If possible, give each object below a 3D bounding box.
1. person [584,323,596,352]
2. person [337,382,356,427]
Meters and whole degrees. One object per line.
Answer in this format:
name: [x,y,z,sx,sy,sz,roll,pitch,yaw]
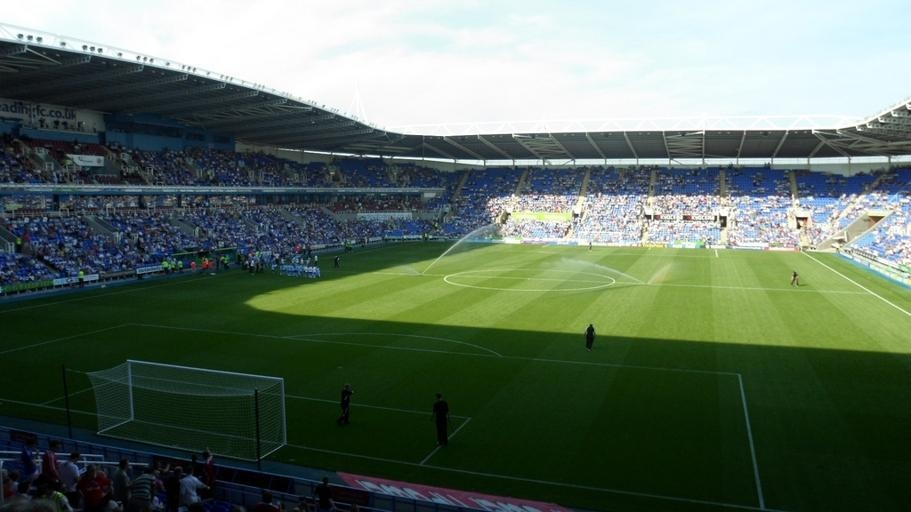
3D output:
person: [8.626,5.056,41.015,0.590,1.649,1.270,1,12,9]
person: [-6.048,7.786,34.422,0.747,2.142,1.309,-3,12,-8]
